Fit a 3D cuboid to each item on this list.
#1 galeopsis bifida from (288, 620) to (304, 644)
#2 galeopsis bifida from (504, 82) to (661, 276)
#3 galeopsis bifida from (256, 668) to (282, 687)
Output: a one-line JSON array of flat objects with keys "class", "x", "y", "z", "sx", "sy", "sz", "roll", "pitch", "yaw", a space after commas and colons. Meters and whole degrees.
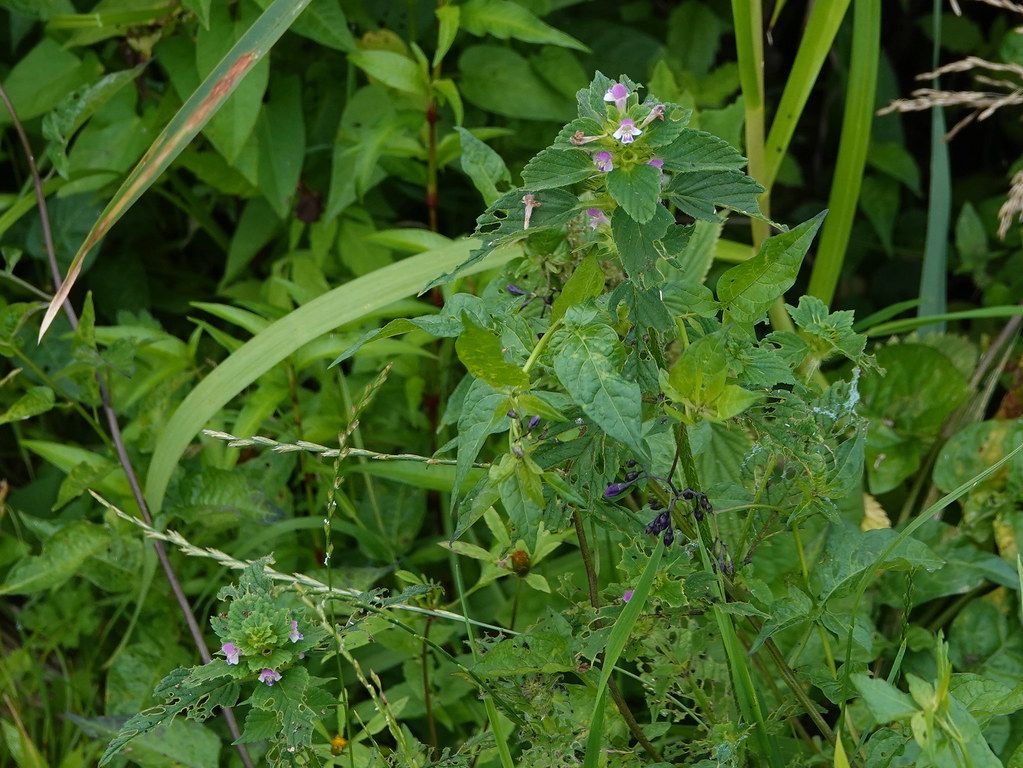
[{"class": "galeopsis bifida", "x": -0.282, "y": 0.320, "z": 1.385, "sx": 0.016, "sy": 0.025, "sz": 0.027, "roll": 2, "pitch": 47, "yaw": -3}, {"class": "galeopsis bifida", "x": 0.113, "y": -0.296, "z": 1.312, "sx": 0.169, "sy": 0.130, "sz": 0.173, "roll": 13, "pitch": 47, "yaw": 6}, {"class": "galeopsis bifida", "x": -0.314, "y": 0.380, "z": 1.370, "sx": 0.024, "sy": 0.025, "sz": 0.011, "roll": 31, "pitch": 20, "yaw": -16}]
